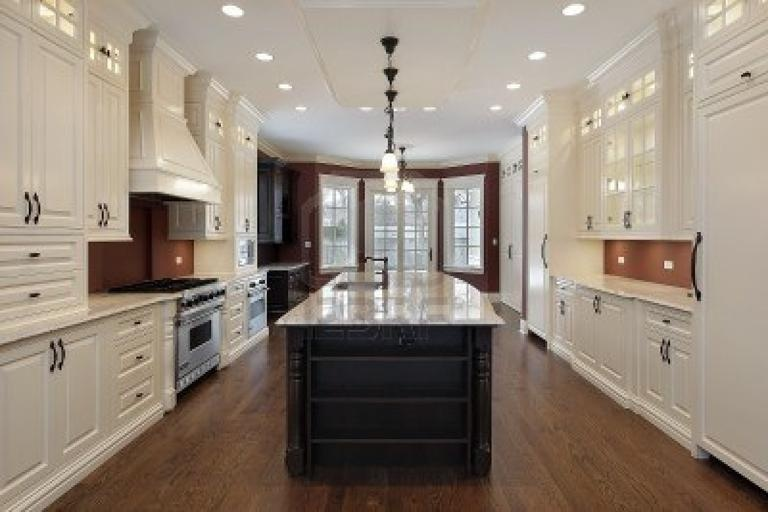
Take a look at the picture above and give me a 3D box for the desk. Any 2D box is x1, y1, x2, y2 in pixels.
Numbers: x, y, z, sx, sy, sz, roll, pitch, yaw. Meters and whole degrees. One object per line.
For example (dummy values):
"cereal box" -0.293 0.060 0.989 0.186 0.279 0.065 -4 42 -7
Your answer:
"desk" 0.086 0.960 5.111 1.687 1.317 2.807 1 6 3

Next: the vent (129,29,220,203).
"vent" -2.134 -1.427 4.978 0.591 1.488 1.573 -1 -1 3
